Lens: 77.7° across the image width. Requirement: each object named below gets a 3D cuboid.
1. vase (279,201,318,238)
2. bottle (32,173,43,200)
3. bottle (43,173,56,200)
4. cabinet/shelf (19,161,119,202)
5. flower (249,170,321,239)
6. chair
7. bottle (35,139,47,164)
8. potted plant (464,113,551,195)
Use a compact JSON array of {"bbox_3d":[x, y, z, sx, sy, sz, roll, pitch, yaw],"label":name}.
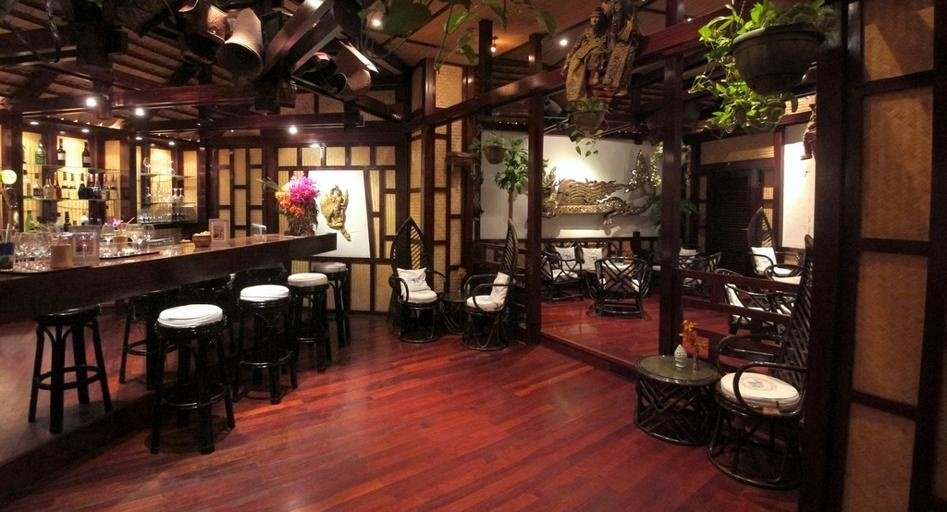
[{"bbox_3d":[-2.493,-0.511,8.246,0.503,0.413,0.489,-1,-3,39],"label":"vase"},{"bbox_3d":[-6.645,-1.078,8.982,0.171,0.376,0.291,-12,15,-32],"label":"bottle"},{"bbox_3d":[-6.565,-1.073,9.135,0.150,0.396,0.408,-12,15,-31],"label":"bottle"},{"bbox_3d":[-6.462,-1.218,9.630,1.726,0.617,0.259,1,0,8],"label":"cabinet/shelf"},{"bbox_3d":[-2.513,-0.729,8.273,0.806,0.774,0.776,-5,11,-26],"label":"flower"},{"bbox_3d":[2.342,1.052,6.391,2.374,2.160,1.405,5,15,32],"label":"chair"},{"bbox_3d":[-6.686,-1.588,9.098,0.156,0.343,0.314,-12,15,-33],"label":"bottle"},{"bbox_3d":[0.483,-1.647,9.406,1.709,1.530,0.946,1,18,-4],"label":"potted plant"}]
